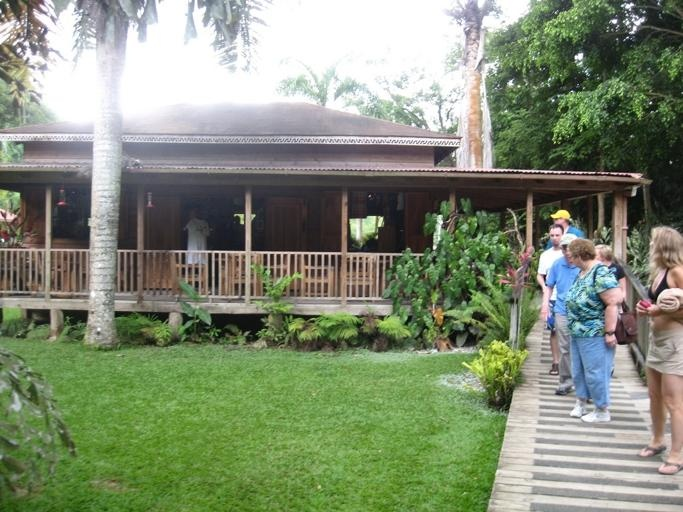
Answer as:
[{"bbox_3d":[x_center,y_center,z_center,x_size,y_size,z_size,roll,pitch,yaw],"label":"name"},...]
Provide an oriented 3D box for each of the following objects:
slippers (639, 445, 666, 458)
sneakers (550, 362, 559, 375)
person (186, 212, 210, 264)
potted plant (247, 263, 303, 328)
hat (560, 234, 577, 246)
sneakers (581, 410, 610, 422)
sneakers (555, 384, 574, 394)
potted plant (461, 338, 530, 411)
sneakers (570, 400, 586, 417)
[{"bbox_3d":[3.551,2.236,6.642,0.322,0.090,0.127,-3,-7,-15],"label":"slippers"},{"bbox_3d":[3.439,1.818,9.367,0.143,0.179,0.444,-2,-8,18],"label":"sneakers"},{"bbox_3d":[-3.593,-0.521,14.477,0.620,0.213,1.380,-1,-44,-16],"label":"person"},{"bbox_3d":[-1.526,0.837,13.193,1.590,1.691,1.247,1,-13,-9],"label":"potted plant"},{"bbox_3d":[3.272,-0.239,8.392,0.212,0.115,0.315,-11,2,35],"label":"hat"},{"bbox_3d":[3.267,2.060,7.498,0.387,0.178,0.143,0,-1,15],"label":"sneakers"},{"bbox_3d":[3.239,1.924,8.428,0.294,0.130,0.114,0,-3,-32],"label":"sneakers"},{"bbox_3d":[2.387,1.644,9.210,0.942,1.210,1.029,-5,11,2],"label":"potted plant"},{"bbox_3d":[3.112,2.009,7.603,0.112,0.149,0.337,-5,-7,35],"label":"sneakers"}]
